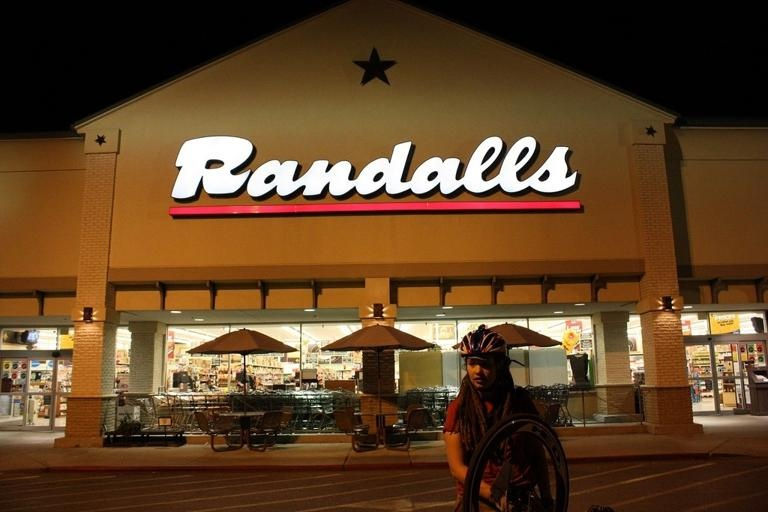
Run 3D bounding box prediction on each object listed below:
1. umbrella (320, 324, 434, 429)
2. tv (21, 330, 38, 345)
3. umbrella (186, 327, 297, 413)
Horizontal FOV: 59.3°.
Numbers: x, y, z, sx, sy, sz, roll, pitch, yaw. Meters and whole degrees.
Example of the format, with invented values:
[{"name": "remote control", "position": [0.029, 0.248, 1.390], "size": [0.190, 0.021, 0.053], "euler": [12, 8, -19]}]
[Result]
[{"name": "umbrella", "position": [-0.399, 4.215, 25.737], "size": [3.288, 3.528, 3.467], "euler": [-14, -18, 42]}, {"name": "tv", "position": [-17.742, 4.063, 33.780], "size": [0.755, 0.678, 0.394], "euler": [1, -5, 3]}, {"name": "umbrella", "position": [-5.506, 4.500, 26.111], "size": [3.486, 2.246, 3.497], "euler": [2, -4, -13]}]
